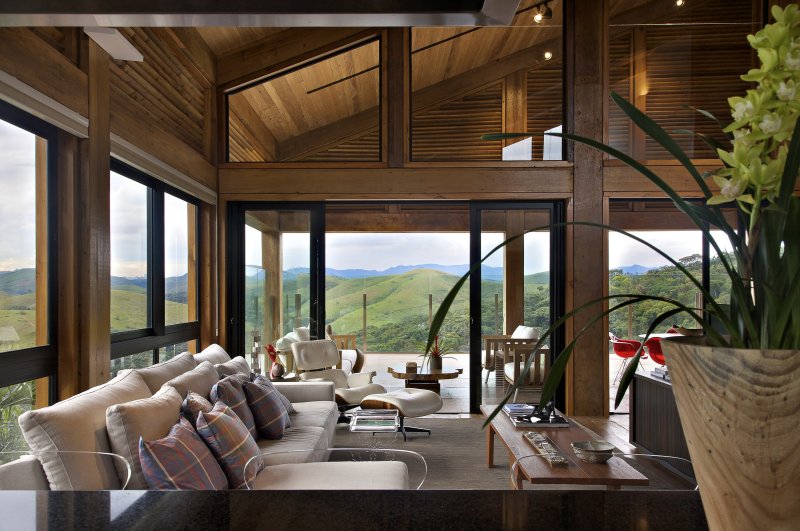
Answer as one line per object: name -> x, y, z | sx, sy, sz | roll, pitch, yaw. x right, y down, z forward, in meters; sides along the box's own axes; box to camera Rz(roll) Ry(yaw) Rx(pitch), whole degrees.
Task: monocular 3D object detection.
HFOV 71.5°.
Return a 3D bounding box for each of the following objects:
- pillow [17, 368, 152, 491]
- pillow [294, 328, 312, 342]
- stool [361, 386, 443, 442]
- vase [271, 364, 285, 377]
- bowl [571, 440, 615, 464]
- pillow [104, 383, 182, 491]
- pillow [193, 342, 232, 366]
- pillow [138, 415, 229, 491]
pillow -> -1.426, 0.753, 2.513 | 0.170, 0.323, 0.473 | -20, -3, 9
pillow -> -0.995, 0.717, 5.711 | 0.148, 0.131, 0.136 | -1, -6, 3
stool -> 0.018, 1.174, 4.736 | 0.443, 0.323, 0.583 | 0, -4, 14
vase -> -1.109, 0.957, 5.074 | 0.120, 0.107, 0.115 | 1, 3, -1
bowl -> 1.096, 1.062, 3.152 | 0.211, 0.079, 0.261 | -3, -3, 14
pillow -> -1.150, 0.781, 2.472 | 0.119, 0.213, 0.405 | -15, 2, 6
pillow -> -1.372, 0.663, 4.074 | 0.183, 0.063, 0.176 | -5, 15, -31
pillow -> -0.970, 0.845, 2.467 | 0.260, 0.319, 0.507 | -1, -1, -16
